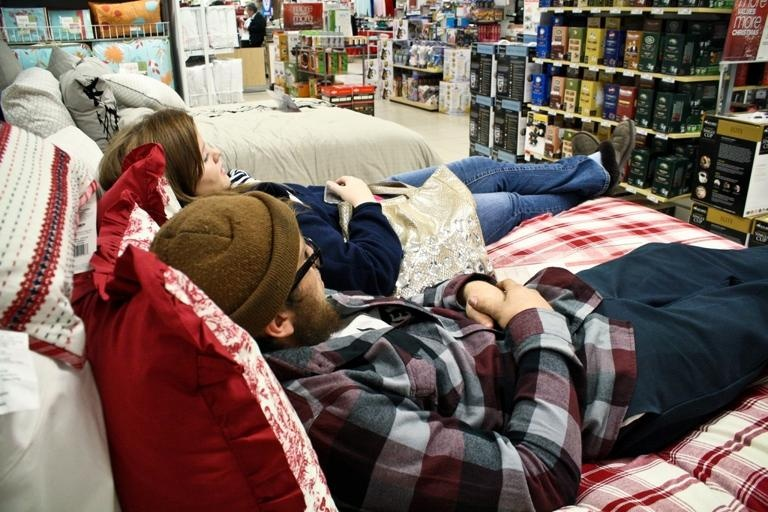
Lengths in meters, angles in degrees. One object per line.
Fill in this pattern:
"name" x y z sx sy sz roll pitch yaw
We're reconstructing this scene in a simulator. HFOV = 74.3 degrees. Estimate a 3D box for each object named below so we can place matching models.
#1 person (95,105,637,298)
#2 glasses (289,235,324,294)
"person" 0.133 -0.308 2.474 2.475 0.875 0.840 -16 18 -27
"glasses" -0.203 0.021 1.336 0.034 0.125 0.117 40 7 -19
